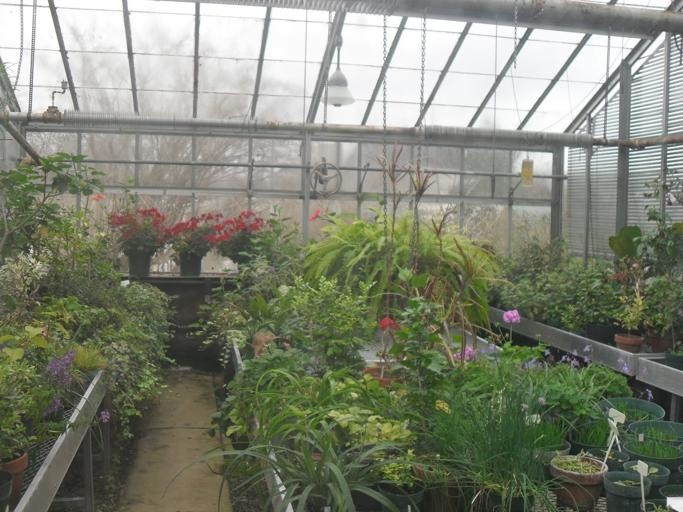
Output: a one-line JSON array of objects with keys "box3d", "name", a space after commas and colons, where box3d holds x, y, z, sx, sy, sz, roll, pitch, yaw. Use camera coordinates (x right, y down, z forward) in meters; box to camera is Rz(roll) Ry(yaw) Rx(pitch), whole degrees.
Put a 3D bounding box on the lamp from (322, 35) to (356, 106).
[{"box3d": [-0.023, -2.310, 7.806, 0.357, 0.819, 0.978, 1, 6, 0], "name": "lamp"}]
